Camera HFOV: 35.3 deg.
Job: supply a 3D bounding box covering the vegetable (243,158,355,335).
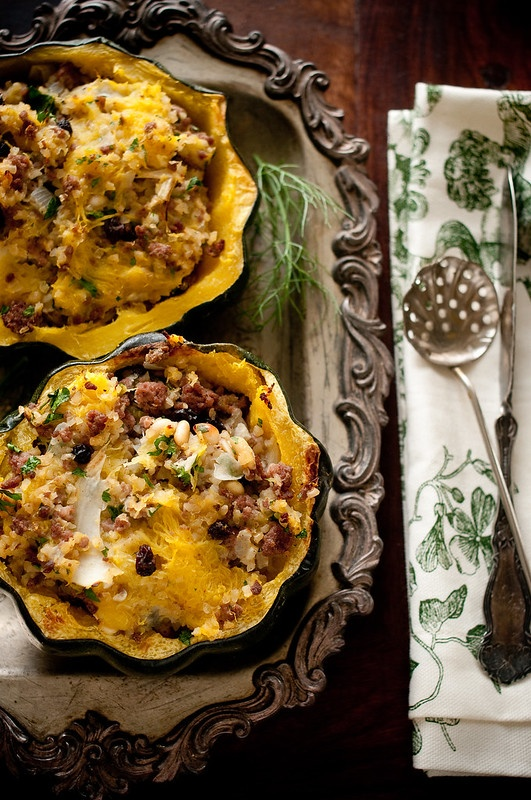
[{"bbox_3d":[0.046,-0.367,2.021,0.284,0.110,0.372,-3,77,-3],"label":"vegetable"}]
